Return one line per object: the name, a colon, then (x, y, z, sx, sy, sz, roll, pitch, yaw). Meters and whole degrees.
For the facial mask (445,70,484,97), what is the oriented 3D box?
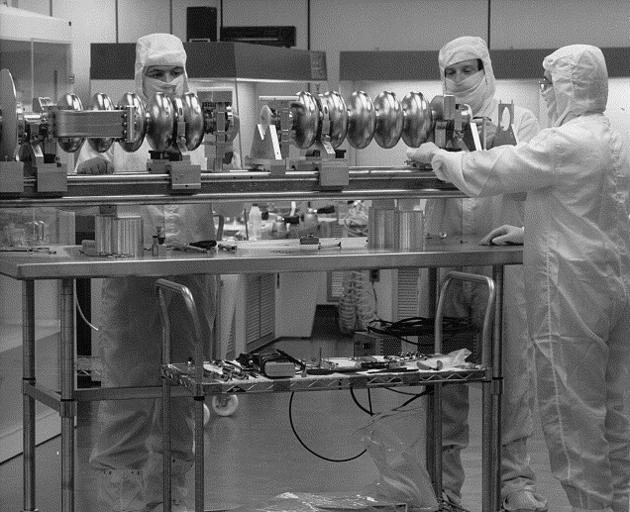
facial mask: (0.646, -0.728, 4.303, 0.128, 0.122, 0.187, 0, 8, 11)

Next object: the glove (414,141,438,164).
glove: (0.417, -0.376, 3.736, 0.050, 0.073, 0.129, -4, 6, -27)

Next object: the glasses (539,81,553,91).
glasses: (0.920, -0.677, 4.031, 0.043, 0.016, 0.049, 2, 1, -1)
